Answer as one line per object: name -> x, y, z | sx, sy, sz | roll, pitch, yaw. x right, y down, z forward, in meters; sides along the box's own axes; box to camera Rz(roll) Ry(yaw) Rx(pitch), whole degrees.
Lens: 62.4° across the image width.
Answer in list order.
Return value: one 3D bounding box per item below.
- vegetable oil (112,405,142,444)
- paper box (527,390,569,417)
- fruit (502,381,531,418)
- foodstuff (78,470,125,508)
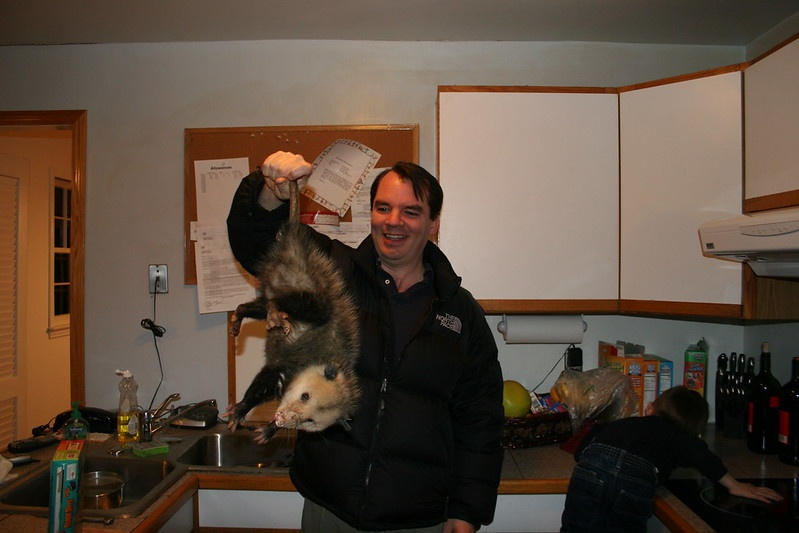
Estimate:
vegetable oil -> -1.403, 0.824, 3.421 | 0.116, 0.153, 0.248 | -1, -1, -25
paper box -> 0.804, 0.740, 3.542 | 0.137, 0.058, 0.196 | 2, 2, 2
fruit -> 0.585, 0.684, 3.525 | 0.209, 0.209, 0.198 | 4, 7, 6
foodstuff -> -1.407, 1.059, 3.125 | 0.193, 0.091, 0.246 | 5, -1, 6
